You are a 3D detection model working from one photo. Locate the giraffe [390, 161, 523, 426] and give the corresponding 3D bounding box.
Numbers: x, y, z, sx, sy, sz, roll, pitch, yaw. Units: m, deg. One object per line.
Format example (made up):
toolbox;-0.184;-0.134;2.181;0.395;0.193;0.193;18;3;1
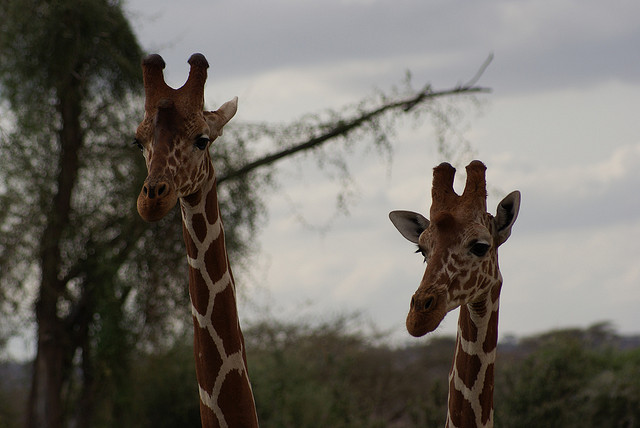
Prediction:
giraffe;0.838;0.517;7.858;0.570;1.486;0.656;-7;-22;8
